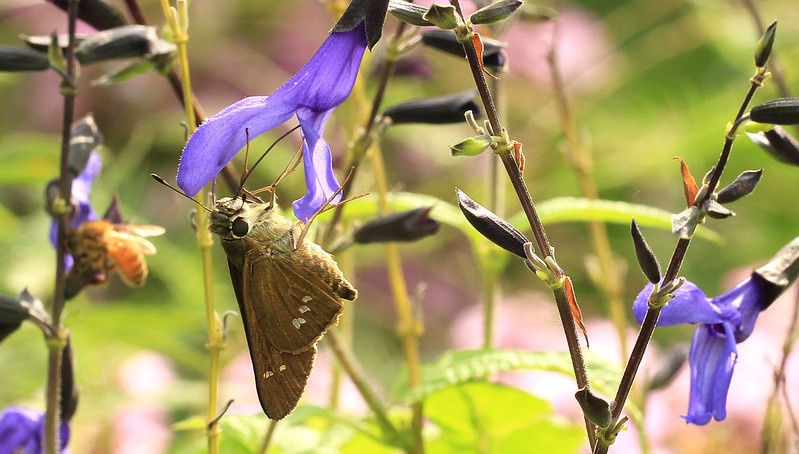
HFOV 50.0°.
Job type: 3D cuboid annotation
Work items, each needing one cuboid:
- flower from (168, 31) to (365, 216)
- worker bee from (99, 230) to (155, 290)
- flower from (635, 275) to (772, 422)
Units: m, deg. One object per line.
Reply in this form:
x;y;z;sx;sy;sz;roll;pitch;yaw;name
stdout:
-0.225;-0.249;2.005;0.228;0.419;0.435;24;-80;-33;flower
-0.693;0.086;2.221;0.064;0.133;0.132;-13;1;-33;worker bee
0.709;0.273;1.967;0.330;0.319;0.113;6;-7;29;flower
